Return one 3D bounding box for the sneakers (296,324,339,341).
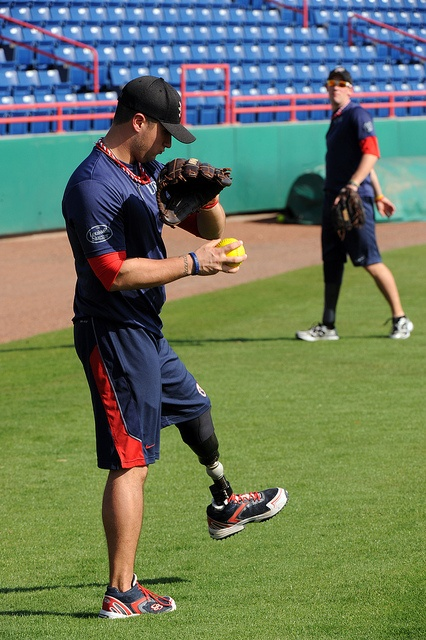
[{"bbox_3d":[0.683,0.077,5.775,0.263,0.097,0.107,2,-2,0],"label":"sneakers"}]

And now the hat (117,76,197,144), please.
[{"bbox_3d":[-0.179,-0.655,2.735,0.211,0.207,0.255,0,14,13],"label":"hat"}]

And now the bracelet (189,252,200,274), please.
[{"bbox_3d":[-0.060,-0.173,2.702,0.024,0.053,0.051,-7,10,-19],"label":"bracelet"}]

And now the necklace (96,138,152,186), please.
[{"bbox_3d":[-0.277,-0.473,2.715,0.175,0.044,0.131,36,4,-4],"label":"necklace"}]

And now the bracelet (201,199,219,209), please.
[{"bbox_3d":[-0.009,-0.409,3.068,0.038,0.017,0.048,-17,-14,-30],"label":"bracelet"}]

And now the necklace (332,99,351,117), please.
[{"bbox_3d":[0.821,-1.355,5.718,0.120,0.027,0.115,-33,-4,-31],"label":"necklace"}]

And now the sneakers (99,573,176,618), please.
[{"bbox_3d":[-0.235,0.835,2.675,0.275,0.111,0.096,-1,0,-19],"label":"sneakers"}]

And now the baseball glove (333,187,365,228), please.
[{"bbox_3d":[0.822,-0.688,5.350,0.223,0.223,0.113,-4,12,16],"label":"baseball glove"}]

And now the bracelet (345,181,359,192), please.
[{"bbox_3d":[0.856,-0.814,5.391,0.064,0.028,0.072,30,2,10],"label":"bracelet"}]

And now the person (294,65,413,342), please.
[{"bbox_3d":[0.877,-0.729,5.650,0.754,1.753,0.668,-4,15,-1],"label":"person"}]

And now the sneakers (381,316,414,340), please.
[{"bbox_3d":[1.219,0.040,5.665,0.172,0.166,0.144,-6,15,-11],"label":"sneakers"}]

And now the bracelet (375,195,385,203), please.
[{"bbox_3d":[1.117,-0.813,5.847,0.053,0.028,0.048,-41,24,-26],"label":"bracelet"}]

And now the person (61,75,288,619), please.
[{"bbox_3d":[-0.206,0.079,2.811,0.485,1.662,0.923,6,18,30],"label":"person"}]
